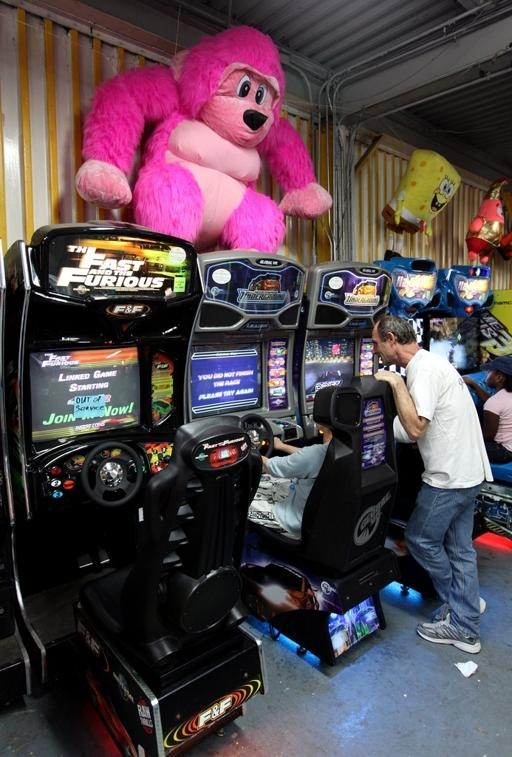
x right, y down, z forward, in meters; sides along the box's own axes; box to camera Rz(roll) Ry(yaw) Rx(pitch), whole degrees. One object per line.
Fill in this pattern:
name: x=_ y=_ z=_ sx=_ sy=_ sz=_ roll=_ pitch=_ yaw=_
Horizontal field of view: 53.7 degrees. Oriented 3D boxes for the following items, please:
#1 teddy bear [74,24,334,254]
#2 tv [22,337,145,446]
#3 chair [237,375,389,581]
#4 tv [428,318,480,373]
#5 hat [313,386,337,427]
teddy bear: x=-0.256 y=-1.407 z=3.074 sx=0.685 sy=1.220 sz=1.675 roll=1 pitch=2 yaw=40
tv: x=-0.761 y=0.048 z=2.185 sx=0.461 sy=0.334 sz=0.051 roll=-8 pitch=13 yaw=-43
chair: x=0.261 y=0.370 z=2.305 sx=0.700 sy=0.763 sz=0.496 roll=3 pitch=7 yaw=39
tv: x=1.852 y=-0.344 z=4.734 sx=0.539 sy=0.534 sz=0.024 roll=-4 pitch=5 yaw=-33
hat: x=0.259 y=0.105 z=1.922 sx=0.073 sy=0.157 sz=0.136 roll=0 pitch=2 yaw=-7
